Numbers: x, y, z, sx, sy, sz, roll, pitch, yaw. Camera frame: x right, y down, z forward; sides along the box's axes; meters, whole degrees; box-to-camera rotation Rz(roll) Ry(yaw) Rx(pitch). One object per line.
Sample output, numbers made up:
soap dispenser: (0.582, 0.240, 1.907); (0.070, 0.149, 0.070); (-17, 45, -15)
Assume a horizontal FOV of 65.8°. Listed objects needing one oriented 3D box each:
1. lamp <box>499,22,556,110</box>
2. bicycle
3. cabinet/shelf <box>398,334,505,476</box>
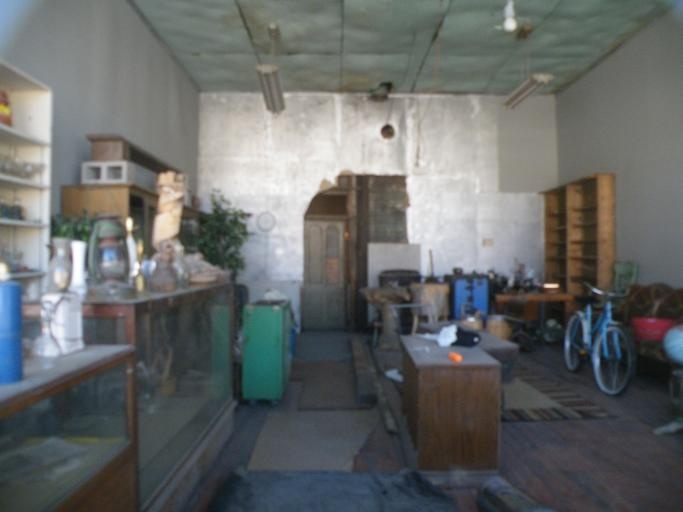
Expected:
lamp: (2.855, -2.805, 8.300); (0.437, 0.642, 1.631); (0, 9, 6)
bicycle: (3.266, 1.032, 6.968); (0.577, 1.237, 2.029); (6, 1, 4)
cabinet/shelf: (1.045, 1.388, 4.971); (0.802, 0.916, 0.649); (-2, 1, -3)
